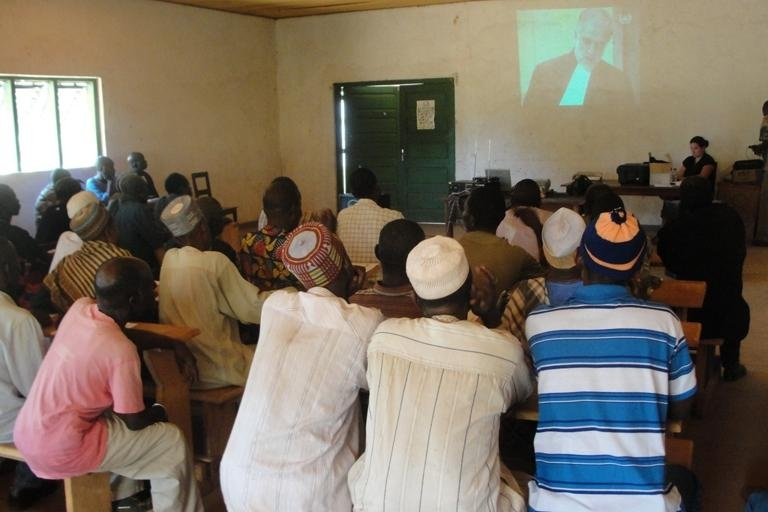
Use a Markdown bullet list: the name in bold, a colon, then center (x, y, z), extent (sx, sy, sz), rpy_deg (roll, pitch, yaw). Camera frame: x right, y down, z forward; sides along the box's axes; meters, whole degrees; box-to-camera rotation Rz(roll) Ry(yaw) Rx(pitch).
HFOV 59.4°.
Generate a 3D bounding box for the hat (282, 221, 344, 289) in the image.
- **hat**: center (-0.425, -0.002, 3.818), extent (0.348, 0.333, 0.277), rpy_deg (10, 19, 43)

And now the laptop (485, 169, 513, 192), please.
- **laptop**: center (1.441, -0.975, 8.466), extent (0.346, 0.336, 0.277), rpy_deg (2, 11, 19)

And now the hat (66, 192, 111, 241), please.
- **hat**: center (-2.035, -0.272, 4.572), extent (0.244, 0.300, 0.320), rpy_deg (-14, 18, -37)

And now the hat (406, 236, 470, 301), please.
- **hat**: center (0.266, 0.057, 3.308), extent (0.311, 0.284, 0.214), rpy_deg (-4, 14, -3)

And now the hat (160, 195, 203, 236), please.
- **hat**: center (-1.279, -0.256, 4.296), extent (0.250, 0.166, 0.244), rpy_deg (-18, 41, 12)

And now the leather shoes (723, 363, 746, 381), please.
- **leather shoes**: center (2.682, 0.886, 5.139), extent (0.165, 0.112, 0.062), rpy_deg (-24, 25, -28)

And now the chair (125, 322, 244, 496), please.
- **chair**: center (-1.223, 0.900, 4.161), extent (0.455, 1.106, 0.542), rpy_deg (6, 17, 32)

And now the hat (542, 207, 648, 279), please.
- **hat**: center (1.035, -0.048, 3.413), extent (0.505, 0.288, 0.338), rpy_deg (13, 53, 32)

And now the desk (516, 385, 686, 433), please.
- **desk**: center (1.046, 0.772, 3.316), extent (0.813, 0.239, 0.292), rpy_deg (-1, 14, 9)
